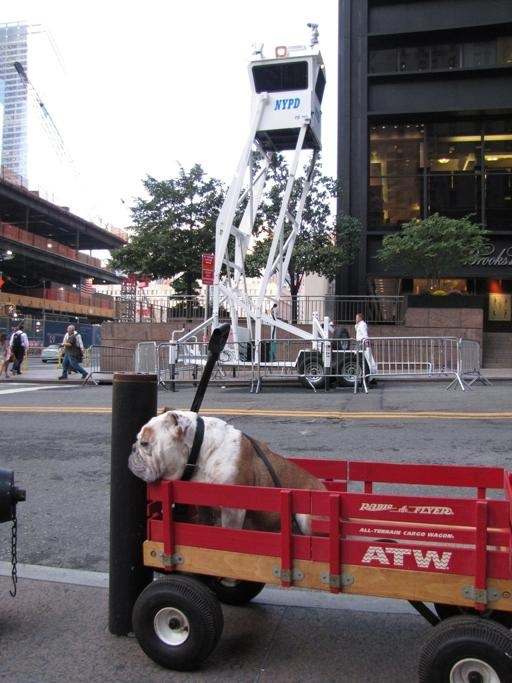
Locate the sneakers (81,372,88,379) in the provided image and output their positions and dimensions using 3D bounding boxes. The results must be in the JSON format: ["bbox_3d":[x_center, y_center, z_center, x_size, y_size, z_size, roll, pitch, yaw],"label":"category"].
[{"bbox_3d":[-4.686,0.918,19.467,0.066,0.209,0.180,10,-36,12],"label":"sneakers"}]

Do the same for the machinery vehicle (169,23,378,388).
[{"bbox_3d":[0.297,-3.471,18.598,4.353,9.094,4.207,5,11,5],"label":"machinery vehicle"}]

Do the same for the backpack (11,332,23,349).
[{"bbox_3d":[-7.744,-0.021,23.133,0.472,0.541,0.281,2,6,7],"label":"backpack"}]

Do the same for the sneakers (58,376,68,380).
[{"bbox_3d":[-5.446,1.018,20.016,0.278,0.117,0.094,6,2,39],"label":"sneakers"}]

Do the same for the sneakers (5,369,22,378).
[{"bbox_3d":[-7.929,1.039,23.321,0.280,0.221,0.648,-3,1,18],"label":"sneakers"}]

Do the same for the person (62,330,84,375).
[{"bbox_3d":[-5.126,0.315,19.818,0.701,1.421,0.579,-1,-4,9],"label":"person"}]

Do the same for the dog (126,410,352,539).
[{"bbox_3d":[-0.109,0.643,3.004,0.947,0.613,0.384,13,-11,-27],"label":"dog"}]
